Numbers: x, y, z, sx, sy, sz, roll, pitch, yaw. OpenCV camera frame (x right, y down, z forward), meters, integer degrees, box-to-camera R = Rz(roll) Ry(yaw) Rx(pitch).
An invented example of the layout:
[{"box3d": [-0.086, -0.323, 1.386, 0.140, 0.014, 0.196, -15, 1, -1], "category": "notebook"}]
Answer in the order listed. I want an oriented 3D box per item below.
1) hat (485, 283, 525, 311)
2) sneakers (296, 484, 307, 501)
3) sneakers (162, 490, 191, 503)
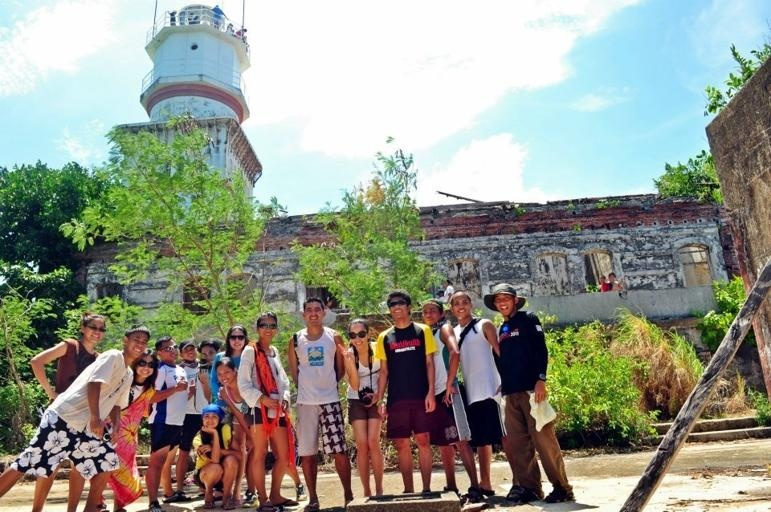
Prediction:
[{"box3d": [2.004, 0.548, 11.693, 0.687, 0.395, 0.751, -5, -36, 19], "category": "hat"}, {"box3d": [-1.371, 4.017, 11.837, 0.105, 0.216, 0.312, 0, -2, 8], "category": "sneakers"}, {"box3d": [-3.569, 4.125, 11.978, 0.437, 0.192, 0.165, 4, -14, -5], "category": "sneakers"}]
